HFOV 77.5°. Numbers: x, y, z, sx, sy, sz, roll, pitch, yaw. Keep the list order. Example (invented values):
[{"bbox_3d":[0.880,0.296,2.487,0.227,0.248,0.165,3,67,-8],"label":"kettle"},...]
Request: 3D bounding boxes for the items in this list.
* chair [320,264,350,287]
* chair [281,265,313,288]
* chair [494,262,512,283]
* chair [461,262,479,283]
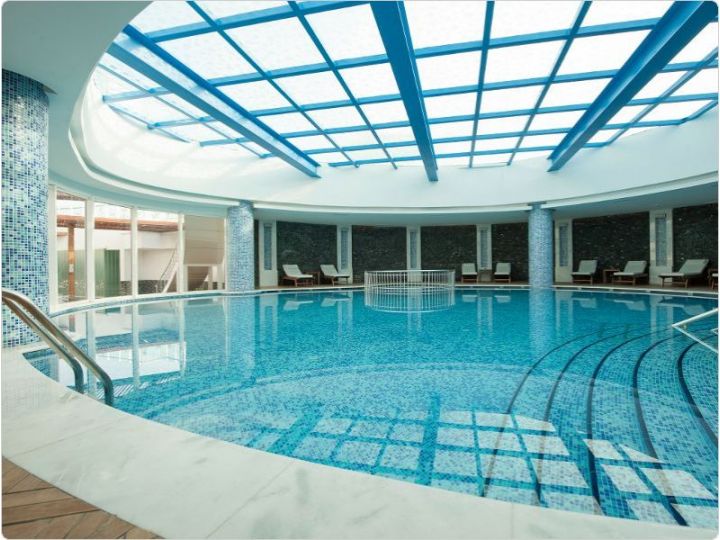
[{"bbox_3d":[-1.172,0.230,21.020,0.883,0.798,1.438,-2,2,-28],"label":"chair"},{"bbox_3d":[-2.897,0.185,19.996,0.907,0.785,1.366,-2,1,-29],"label":"chair"},{"bbox_3d":[6.714,0.084,21.243,0.843,0.904,1.076,0,-2,21],"label":"chair"},{"bbox_3d":[5.415,0.129,21.774,0.769,0.786,0.989,0,-4,6],"label":"chair"}]
